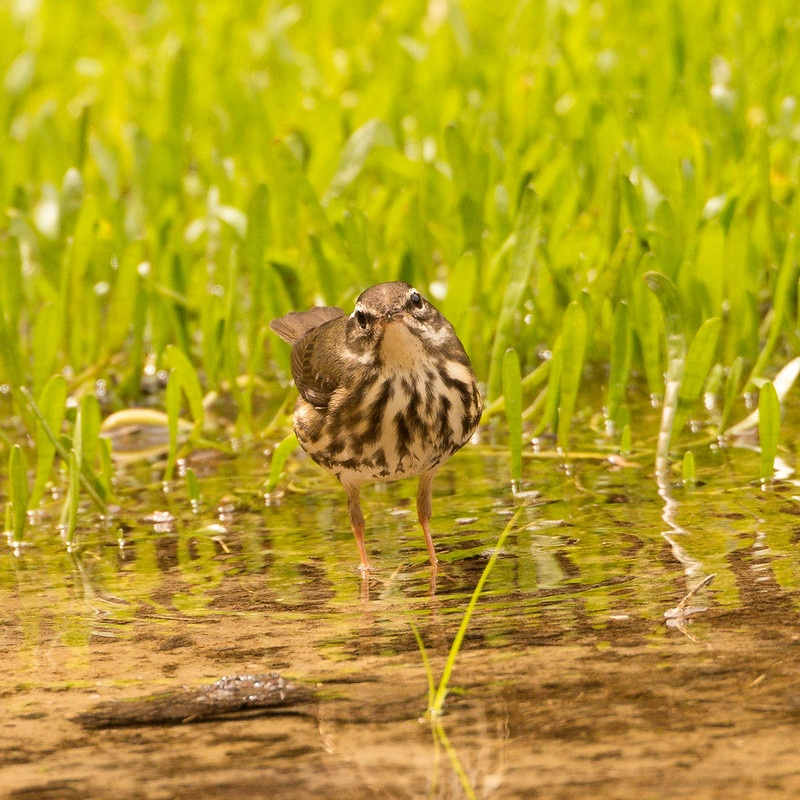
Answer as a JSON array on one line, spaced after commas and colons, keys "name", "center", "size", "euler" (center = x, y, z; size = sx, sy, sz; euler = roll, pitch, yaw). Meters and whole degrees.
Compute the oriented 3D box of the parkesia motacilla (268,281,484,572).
[{"name": "parkesia motacilla", "center": [0.000, -0.028, 3.784], "size": [0.611, 0.833, 1.034], "euler": [-25, 39, -34]}]
